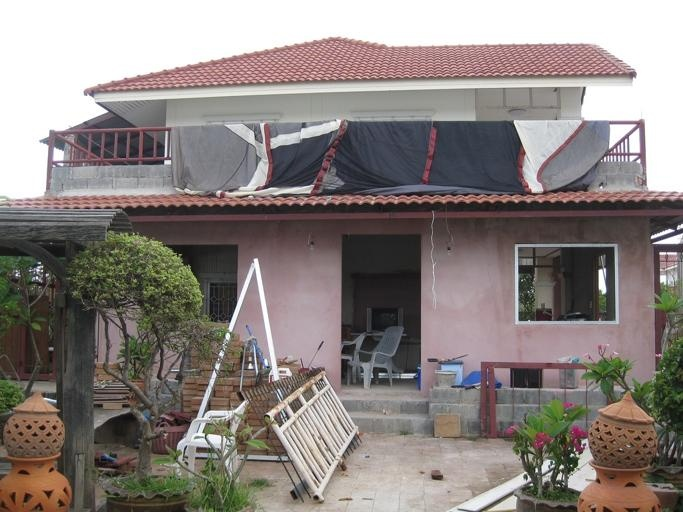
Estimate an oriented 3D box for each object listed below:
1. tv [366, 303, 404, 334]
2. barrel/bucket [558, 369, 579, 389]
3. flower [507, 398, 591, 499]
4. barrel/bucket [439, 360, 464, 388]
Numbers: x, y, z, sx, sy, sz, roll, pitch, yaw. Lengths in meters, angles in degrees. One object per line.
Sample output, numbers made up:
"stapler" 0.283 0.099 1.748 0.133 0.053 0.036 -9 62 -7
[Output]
"tv" 1.042 1.500 17.741 0.933 0.694 0.527 1 -2 9
"barrel/bucket" 3.734 2.011 12.201 0.309 0.422 0.290 1 1 0
"flower" 2.372 2.170 8.417 0.753 1.065 0.715 2 10 -2
"barrel/bucket" 1.922 2.082 12.908 0.406 0.501 0.381 0 -6 0
